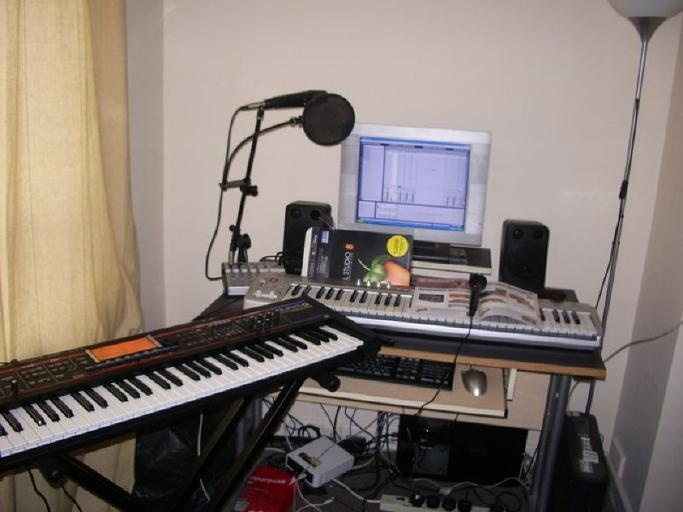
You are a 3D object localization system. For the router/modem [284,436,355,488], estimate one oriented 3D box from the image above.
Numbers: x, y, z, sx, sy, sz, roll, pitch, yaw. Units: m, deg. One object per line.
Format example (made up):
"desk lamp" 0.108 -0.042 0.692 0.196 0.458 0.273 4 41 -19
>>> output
"router/modem" -0.084 0.882 2.680 0.228 0.060 0.227 -18 27 -39

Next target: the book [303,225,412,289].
"book" 0.085 0.008 2.544 0.413 0.264 0.096 5 2 8

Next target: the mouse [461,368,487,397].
"mouse" 0.506 0.480 2.273 0.099 0.069 0.135 6 7 11

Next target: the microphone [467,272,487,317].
"microphone" 0.525 0.150 2.282 0.082 0.160 0.061 0 -9 44

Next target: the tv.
"tv" 0.292 -0.315 2.947 0.932 0.751 0.503 5 15 7
